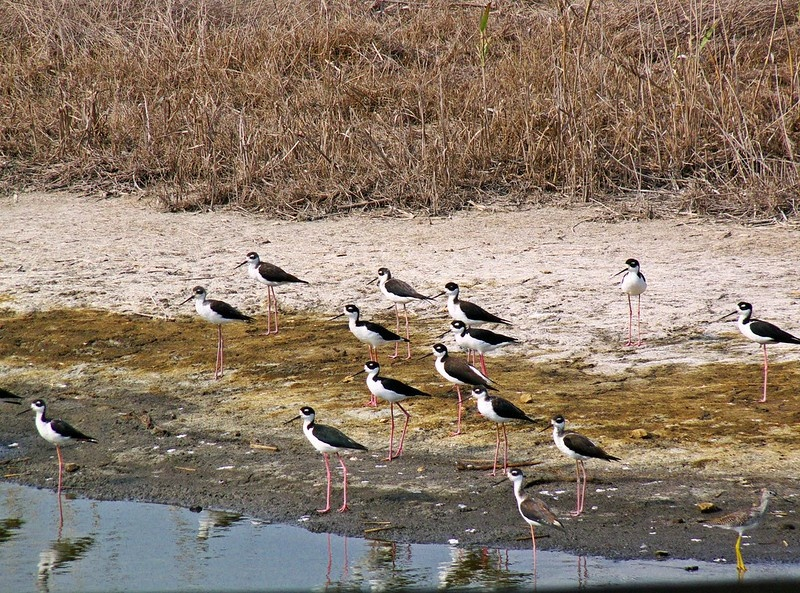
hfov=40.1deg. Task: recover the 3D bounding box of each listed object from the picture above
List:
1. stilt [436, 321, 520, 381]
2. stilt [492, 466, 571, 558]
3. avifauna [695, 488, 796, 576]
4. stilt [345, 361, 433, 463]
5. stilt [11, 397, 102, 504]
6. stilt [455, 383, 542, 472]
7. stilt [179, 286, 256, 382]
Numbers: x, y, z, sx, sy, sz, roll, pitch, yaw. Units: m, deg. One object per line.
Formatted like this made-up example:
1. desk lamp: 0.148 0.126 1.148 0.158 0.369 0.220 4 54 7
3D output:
1. stilt: 0.916 0.545 12.020 0.924 0.626 0.351 -2 4 -6
2. stilt: 1.230 1.899 9.903 0.454 0.661 0.779 -3 4 0
3. avifauna: 2.946 1.985 9.681 0.581 0.669 0.740 -2 5 16
4. stilt: -0.048 1.132 11.513 0.564 0.937 1.035 -3 4 -2
5. stilt: -3.484 1.483 11.382 0.535 0.860 1.238 -5 5 -19
6. stilt: 0.987 1.278 10.944 0.507 0.837 0.878 -3 4 1
7. stilt: -2.164 0.386 13.230 0.563 1.028 1.228 -5 5 -18
